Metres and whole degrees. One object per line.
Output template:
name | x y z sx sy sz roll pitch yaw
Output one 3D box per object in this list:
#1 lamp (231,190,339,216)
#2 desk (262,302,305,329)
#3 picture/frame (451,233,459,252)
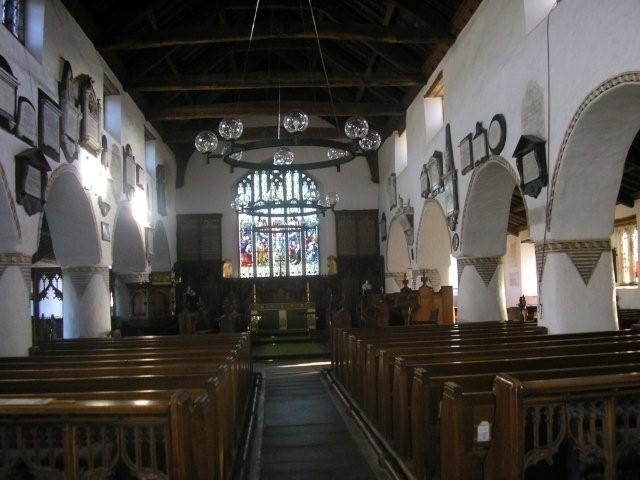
lamp | -0.525 -0.658 10.120 1.627 0.432 1.531 -7 -1 -37
desk | -1.035 2.186 16.308 1.375 0.763 0.302 -7 -1 -8
picture/frame | 2.588 0.071 11.180 0.046 0.256 0.233 5 10 -7
